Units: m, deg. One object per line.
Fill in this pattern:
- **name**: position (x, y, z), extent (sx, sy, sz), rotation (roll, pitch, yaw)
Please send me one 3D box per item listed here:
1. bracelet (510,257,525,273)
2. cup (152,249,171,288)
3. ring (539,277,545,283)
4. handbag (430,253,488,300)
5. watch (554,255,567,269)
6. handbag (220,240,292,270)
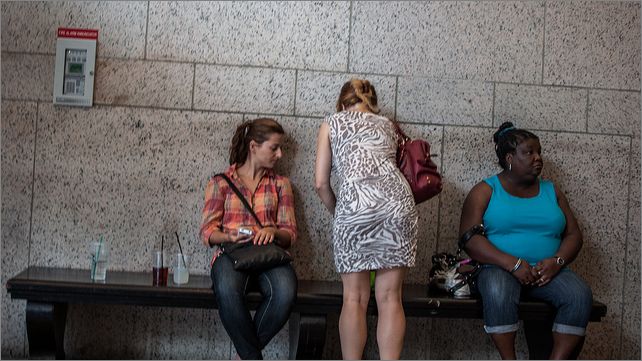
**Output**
- **bracelet**: position (1.777, 0.773, 5.778), extent (0.028, 0.104, 0.105), rotation (24, -5, -9)
- **cup**: position (-1.508, 0.801, 5.950), extent (0.161, 0.270, 0.160), rotation (3, 5, 0)
- **ring**: position (1.997, 0.904, 5.770), extent (0.044, 0.013, 0.043), rotation (-2, -36, -1)
- **handbag**: position (1.278, 0.898, 5.954), extent (0.444, 0.212, 0.340), rotation (8, 4, 7)
- **watch**: position (2.188, 0.748, 5.833), extent (0.078, 0.106, 0.119), rotation (-2, 42, -28)
- **handbag**: position (-0.585, 0.668, 5.708), extent (0.338, 0.119, 0.343), rotation (-3, 8, -19)
